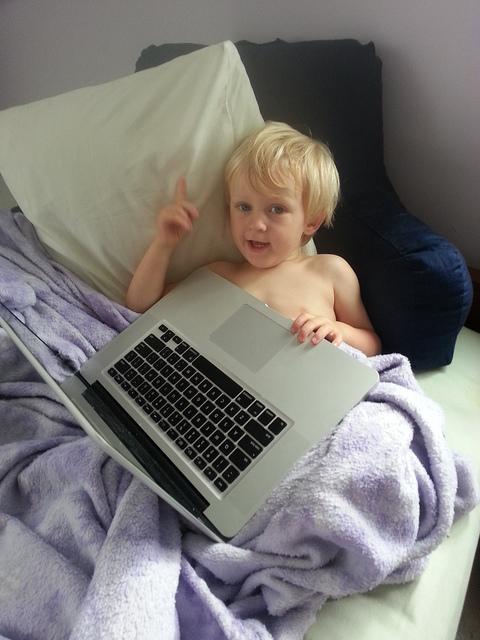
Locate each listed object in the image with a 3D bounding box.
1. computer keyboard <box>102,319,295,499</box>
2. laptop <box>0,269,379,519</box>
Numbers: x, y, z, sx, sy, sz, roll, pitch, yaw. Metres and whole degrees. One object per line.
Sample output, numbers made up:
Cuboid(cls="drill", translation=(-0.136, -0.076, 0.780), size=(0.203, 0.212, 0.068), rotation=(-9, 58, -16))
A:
Cuboid(cls="computer keyboard", translation=(-0.063, 0.109, 0.826), size=(0.190, 0.032, 0.352), rotation=(-46, 48, -15))
Cuboid(cls="laptop", translation=(-0.033, 0.099, 0.832), size=(0.393, 0.282, 0.336), rotation=(39, 80, 27))
